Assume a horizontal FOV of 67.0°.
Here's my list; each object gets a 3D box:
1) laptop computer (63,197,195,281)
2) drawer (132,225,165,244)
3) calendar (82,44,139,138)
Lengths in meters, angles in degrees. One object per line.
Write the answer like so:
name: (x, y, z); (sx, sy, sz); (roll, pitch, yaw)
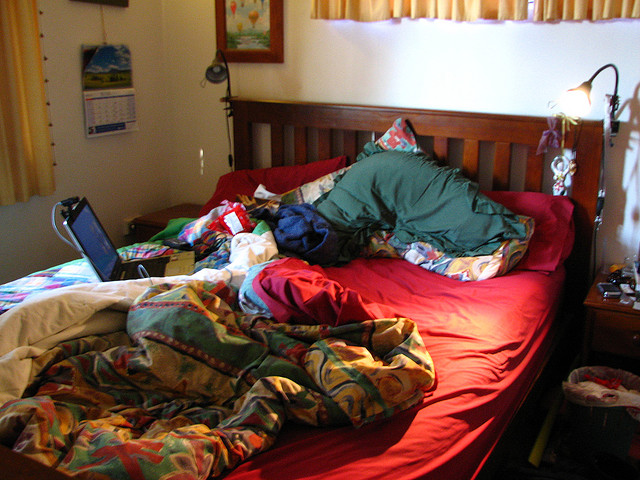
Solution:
laptop computer: (-0.866, 0.014, 2.320); (0.474, 0.447, 0.566); (-6, 15, -24)
drawer: (-1.086, -0.037, 3.085); (0.109, 0.108, 0.059); (3, 34, -4)
calendar: (-1.332, -0.953, 3.123); (0.408, 0.574, 0.053); (2, 8, 16)
